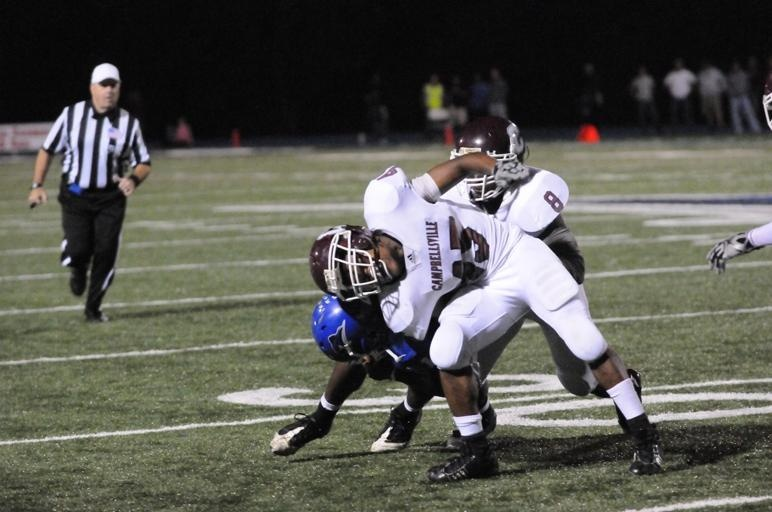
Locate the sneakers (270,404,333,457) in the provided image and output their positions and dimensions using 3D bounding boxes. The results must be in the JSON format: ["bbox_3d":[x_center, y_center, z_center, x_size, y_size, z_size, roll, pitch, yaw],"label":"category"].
[{"bbox_3d":[-0.506,1.056,6.373,0.391,0.132,0.164,-25,-17,-39],"label":"sneakers"}]

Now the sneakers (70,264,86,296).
[{"bbox_3d":[-2.475,0.185,8.504,0.097,0.265,0.120,-5,9,-34],"label":"sneakers"}]

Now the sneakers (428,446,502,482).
[{"bbox_3d":[0.448,1.159,6.071,0.489,0.226,0.158,-1,10,-7],"label":"sneakers"}]

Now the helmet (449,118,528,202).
[{"bbox_3d":[0.639,-0.598,6.355,0.399,0.424,0.536,-6,19,37],"label":"helmet"}]

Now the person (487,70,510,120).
[{"bbox_3d":[2.308,-3.363,21.906,0.395,0.993,0.774,-4,5,6],"label":"person"}]

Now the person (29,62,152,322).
[{"bbox_3d":[-2.320,-0.493,8.350,0.928,2.017,0.457,-6,5,-13],"label":"person"}]

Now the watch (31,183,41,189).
[{"bbox_3d":[-2.725,-0.550,8.263,0.075,0.054,0.117,-6,5,-20],"label":"watch"}]

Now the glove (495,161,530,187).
[{"bbox_3d":[0.713,-0.483,6.100,0.170,0.044,0.160,8,-39,-25],"label":"glove"}]

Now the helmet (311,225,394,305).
[{"bbox_3d":[-0.229,0.044,6.075,0.476,0.360,0.380,-7,6,31],"label":"helmet"}]

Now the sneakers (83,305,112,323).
[{"bbox_3d":[-2.291,0.465,8.390,0.168,0.114,0.163,-25,12,-33],"label":"sneakers"}]

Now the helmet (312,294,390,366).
[{"bbox_3d":[-0.256,0.402,6.145,0.439,0.310,0.309,13,-40,-25],"label":"helmet"}]

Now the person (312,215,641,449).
[{"bbox_3d":[0.474,0.425,6.415,1.793,0.643,1.262,-1,19,-5],"label":"person"}]

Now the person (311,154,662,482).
[{"bbox_3d":[0.394,0.341,6.067,1.565,1.834,0.360,-5,4,-4],"label":"person"}]

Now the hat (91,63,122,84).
[{"bbox_3d":[-2.257,-1.458,8.466,0.204,0.191,0.425,-6,5,-16],"label":"hat"}]
